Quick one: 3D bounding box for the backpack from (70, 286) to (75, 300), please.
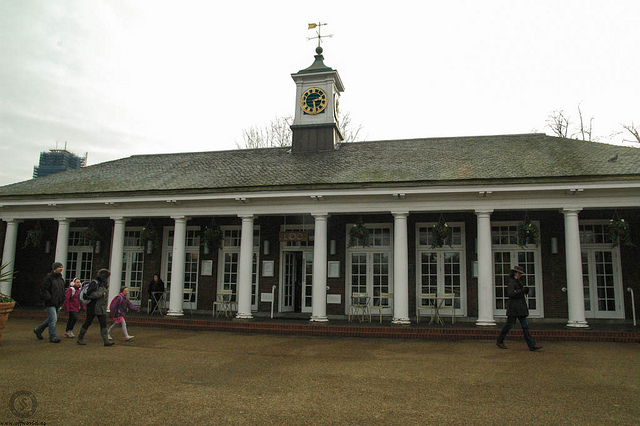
[{"bbox_3d":[-8.042,2.562,15.586,0.122,0.253,0.223,1,0,-19],"label":"backpack"}]

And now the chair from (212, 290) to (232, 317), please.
[{"bbox_3d":[-4.139,3.859,20.229,0.971,1.315,0.763,-4,-34,2],"label":"chair"}]

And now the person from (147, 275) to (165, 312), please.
[{"bbox_3d":[-6.954,3.410,20.427,0.628,1.544,0.920,1,0,-18],"label":"person"}]

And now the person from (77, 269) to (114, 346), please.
[{"bbox_3d":[-6.938,2.878,14.915,0.939,1.553,1.500,1,0,-26],"label":"person"}]

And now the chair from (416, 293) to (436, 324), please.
[{"bbox_3d":[4.175,3.780,18.902,0.842,1.027,0.829,15,-17,-33],"label":"chair"}]

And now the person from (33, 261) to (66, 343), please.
[{"bbox_3d":[-8.418,2.780,15.015,0.824,1.813,1.269,1,0,-27],"label":"person"}]

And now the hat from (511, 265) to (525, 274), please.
[{"bbox_3d":[6.838,1.979,16.639,0.532,0.140,0.514,15,-7,-30],"label":"hat"}]

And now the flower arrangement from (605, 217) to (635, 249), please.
[{"bbox_3d":[10.987,0.753,17.550,0.748,0.831,0.839,35,-30,-18],"label":"flower arrangement"}]

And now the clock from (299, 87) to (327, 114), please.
[{"bbox_3d":[-0.301,-5.524,23.819,1.469,1.347,0.184,3,-8,17],"label":"clock"}]

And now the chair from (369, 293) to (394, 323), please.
[{"bbox_3d":[2.421,3.829,19.129,0.837,1.294,0.921,-11,-32,29],"label":"chair"}]

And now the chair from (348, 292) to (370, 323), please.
[{"bbox_3d":[1.618,3.632,19.437,0.799,0.857,0.787,4,-2,-29],"label":"chair"}]

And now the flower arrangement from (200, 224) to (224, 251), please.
[{"bbox_3d":[-4.595,1.056,20.467,0.881,1.116,1.174,1,0,-13],"label":"flower arrangement"}]

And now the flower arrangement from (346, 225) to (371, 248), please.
[{"bbox_3d":[1.492,0.916,18.514,1.043,0.960,0.795,0,-2,10],"label":"flower arrangement"}]
